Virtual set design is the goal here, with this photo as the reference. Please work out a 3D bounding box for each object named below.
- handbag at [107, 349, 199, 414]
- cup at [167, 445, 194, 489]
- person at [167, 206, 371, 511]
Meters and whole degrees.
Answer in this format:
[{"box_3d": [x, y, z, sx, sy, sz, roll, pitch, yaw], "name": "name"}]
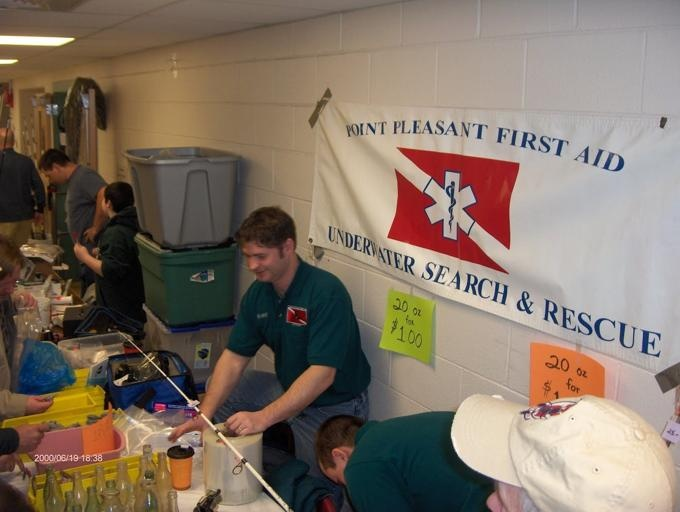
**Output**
[{"box_3d": [-1.027, 0.672, 2.889, 0.544, 0.205, 0.610, 0, 6, 5], "name": "handbag"}, {"box_3d": [-0.617, 0.846, 2.087, 0.102, 0.143, 0.112, -2, -3, 0], "name": "cup"}, {"box_3d": [-0.363, 0.325, 3.266, 1.265, 2.087, 1.014, -10, 11, -39], "name": "person"}]
